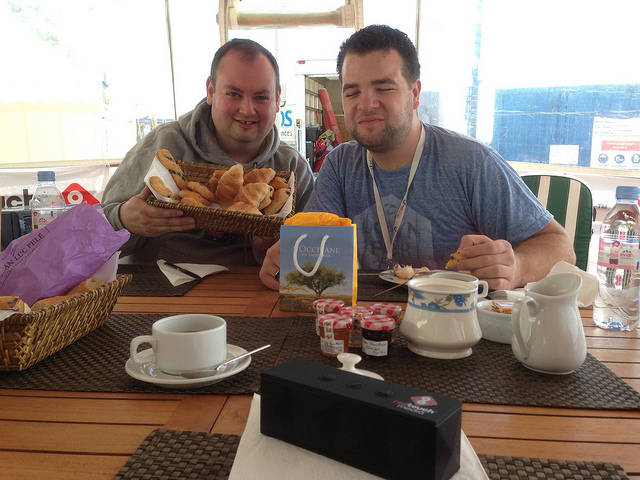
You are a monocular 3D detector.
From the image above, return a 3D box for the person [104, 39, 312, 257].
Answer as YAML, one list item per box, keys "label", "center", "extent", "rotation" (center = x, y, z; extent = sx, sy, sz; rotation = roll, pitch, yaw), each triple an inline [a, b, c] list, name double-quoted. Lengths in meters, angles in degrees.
- label: "person"
  center: [-0.556, -0.476, 2.217]
  extent: [1.006, 1.045, 0.931]
  rotation: [-12, 17, -43]

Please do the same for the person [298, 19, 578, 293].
- label: "person"
  center: [0.400, -0.325, 2.089]
  extent: [1.323, 1.167, 0.844]
  rotation: [-1, 6, 26]

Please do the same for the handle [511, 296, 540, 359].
- label: "handle"
  center: [0.413, 0.177, 0.925]
  extent: [0.071, 0.120, 0.066]
  rotation: [0, 12, 13]

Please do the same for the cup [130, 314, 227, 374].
- label: "cup"
  center: [-0.287, 0.219, 0.906]
  extent: [0.137, 0.096, 0.198]
  rotation: [9, 8, 44]

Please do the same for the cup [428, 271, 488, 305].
- label: "cup"
  center: [0.371, 0.126, 1.155]
  extent: [0.131, 0.092, 0.100]
  rotation: [1, 4, -2]

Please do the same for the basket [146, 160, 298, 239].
- label: "basket"
  center: [-0.381, -0.099, 1.628]
  extent: [0.491, 0.113, 0.330]
  rotation: [5, 33, 4]

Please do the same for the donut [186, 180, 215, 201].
- label: "donut"
  center: [-0.472, -0.216, 1.781]
  extent: [0.091, 0.029, 0.089]
  rotation: [31, 6, -35]

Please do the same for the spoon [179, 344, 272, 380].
- label: "spoon"
  center: [-0.195, 0.248, 0.890]
  extent: [0.191, 0.026, 0.037]
  rotation: [-16, 10, -35]

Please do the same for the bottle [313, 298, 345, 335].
- label: "bottle"
  center: [0.022, 0.192, 1.131]
  extent: [0.081, 0.076, 0.079]
  rotation: [0, 7, 0]

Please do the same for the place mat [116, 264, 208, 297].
- label: "place mat"
  center: [-0.567, 0.129, 1.601]
  extent: [0.289, 0.022, 0.504]
  rotation: [-6, 13, -24]

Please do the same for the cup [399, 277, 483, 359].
- label: "cup"
  center: [0.290, 0.174, 1.057]
  extent: [0.175, 0.157, 0.212]
  rotation: [1, 7, 14]

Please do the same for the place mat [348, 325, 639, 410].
- label: "place mat"
  center: [0.352, 0.267, 0.964]
  extent: [0.547, 0.026, 0.306]
  rotation: [0, 12, 4]
